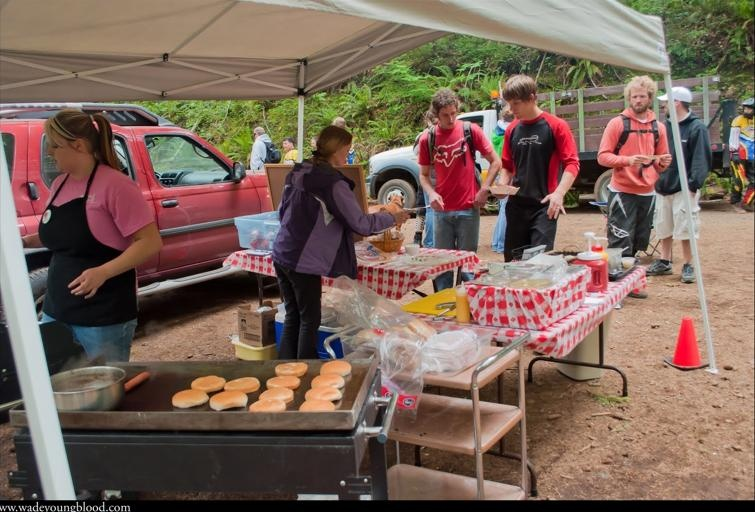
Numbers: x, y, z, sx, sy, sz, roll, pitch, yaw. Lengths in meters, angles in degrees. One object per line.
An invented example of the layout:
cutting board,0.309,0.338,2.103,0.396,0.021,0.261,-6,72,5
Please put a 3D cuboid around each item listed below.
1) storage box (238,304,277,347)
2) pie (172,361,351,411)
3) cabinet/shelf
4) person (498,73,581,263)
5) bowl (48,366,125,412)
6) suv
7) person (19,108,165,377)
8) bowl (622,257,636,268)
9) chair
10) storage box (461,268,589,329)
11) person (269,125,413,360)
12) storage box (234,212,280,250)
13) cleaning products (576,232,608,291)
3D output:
storage box,-1.106,0.655,5.419,0.385,0.340,0.381,2,4,29
pie,-0.543,0.643,2.805,0.784,0.097,0.531,2,12,12
cabinet/shelf,0.370,1.063,3.399,0.873,0.964,1.070,-5,-4,32
person,1.438,-0.772,5.125,0.705,1.687,0.529,3,13,20
bowl,-1.406,0.649,2.756,0.305,0.119,0.423,-8,14,-31
suv,-3.390,-0.790,6.802,2.044,1.938,3.818,7,19,38
person,-1.679,-0.098,3.432,0.574,1.557,0.758,-11,15,-37
bowl,2.087,0.046,4.690,0.105,0.049,0.105,-1,8,0
chair,3.147,-0.344,6.848,0.701,0.605,0.896,8,12,41
storage box,1.082,0.265,3.907,0.541,0.239,0.892,5,13,42
person,-0.380,-0.072,4.463,0.906,1.890,0.462,-4,12,-11
storage box,-1.161,-0.248,5.642,0.517,0.228,0.511,4,11,25
cleaning products,1.592,0.064,4.260,0.279,0.429,0.261,1,-3,-6
